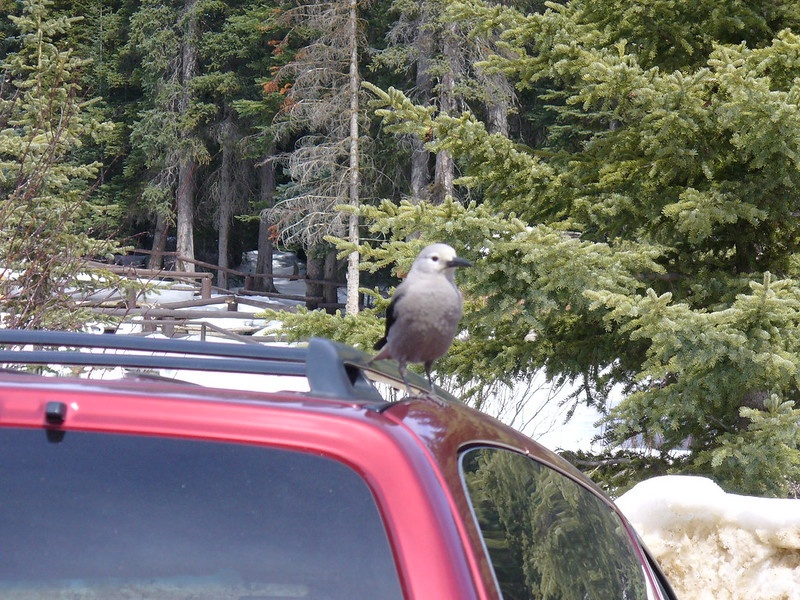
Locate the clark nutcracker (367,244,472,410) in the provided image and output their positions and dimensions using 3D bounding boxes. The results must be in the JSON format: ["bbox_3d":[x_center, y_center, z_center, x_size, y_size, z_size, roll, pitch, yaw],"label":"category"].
[{"bbox_3d":[0.101,0.115,9.317,0.530,1.190,1.080,0,7,-27],"label":"clark nutcracker"}]
